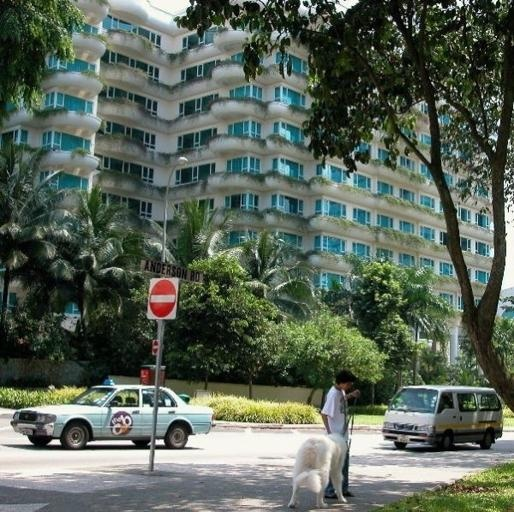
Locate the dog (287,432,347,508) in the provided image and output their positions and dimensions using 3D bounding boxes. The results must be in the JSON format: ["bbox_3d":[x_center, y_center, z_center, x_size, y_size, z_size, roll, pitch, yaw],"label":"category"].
[{"bbox_3d":[0.827,2.940,10.328,0.478,0.986,1.225,-1,-10,24],"label":"dog"}]

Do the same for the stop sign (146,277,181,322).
[{"bbox_3d":[-1.554,0.697,12.636,0.316,0.722,0.837,10,-11,-42],"label":"stop sign"}]

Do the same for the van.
[{"bbox_3d":[5.767,4.904,23.601,4.286,2.075,2.360,19,-21,-42],"label":"van"}]
